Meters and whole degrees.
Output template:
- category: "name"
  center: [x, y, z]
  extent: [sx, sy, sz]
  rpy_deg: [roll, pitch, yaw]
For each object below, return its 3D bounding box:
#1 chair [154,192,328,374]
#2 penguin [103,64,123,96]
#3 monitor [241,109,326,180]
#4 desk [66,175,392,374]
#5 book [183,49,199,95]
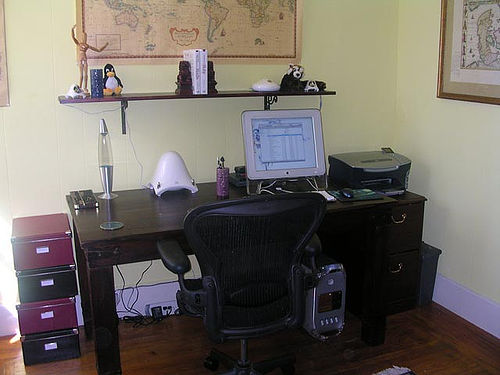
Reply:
- category: "chair"
  center: [-0.029, 0.518, 2.288]
  extent: [0.882, 1.183, 0.581]
  rpy_deg: [-5, 24, -14]
- category: "penguin"
  center: [-0.880, -0.682, 2.738]
  extent: [0.121, 0.194, 0.077]
  rpy_deg: [-9, 14, -20]
- category: "monitor"
  center: [0.226, -0.295, 2.960]
  extent: [0.474, 0.391, 0.038]
  rpy_deg: [-4, -1, -17]
- category: "desk"
  center: [-0.079, 0.552, 2.840]
  extent: [1.943, 1.097, 0.976]
  rpy_deg: [-10, 15, -24]
- category: "book"
  center: [-0.365, -0.756, 2.819]
  extent: [0.053, 0.223, 0.217]
  rpy_deg: [-2, 11, -14]
